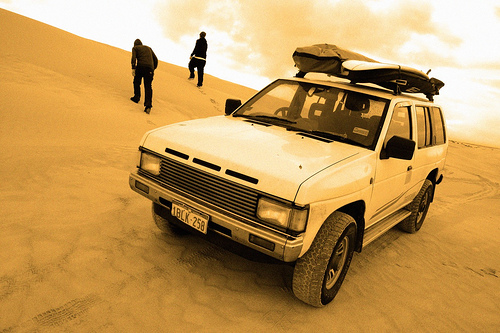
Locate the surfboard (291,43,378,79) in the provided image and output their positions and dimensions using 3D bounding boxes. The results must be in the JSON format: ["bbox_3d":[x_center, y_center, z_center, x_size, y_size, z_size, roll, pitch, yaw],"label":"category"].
[{"bbox_3d":[1.256,-1.960,6.356,1.405,0.495,1.550,9,17,10],"label":"surfboard"}]

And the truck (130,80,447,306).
[{"bbox_3d":[1.225,0.376,6.057,2.940,2.226,4.718,11,12,38],"label":"truck"}]

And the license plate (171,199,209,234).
[{"bbox_3d":[-0.790,0.646,4.791,0.494,0.227,0.040,25,25,28],"label":"license plate"}]
